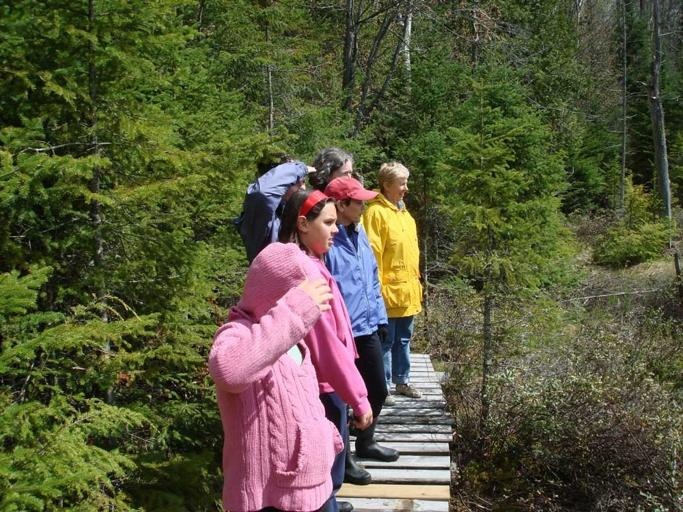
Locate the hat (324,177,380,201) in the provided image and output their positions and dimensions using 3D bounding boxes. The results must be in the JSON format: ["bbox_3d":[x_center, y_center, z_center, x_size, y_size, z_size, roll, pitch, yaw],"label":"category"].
[{"bbox_3d":[0.090,-0.547,5.279,0.368,0.159,0.243,1,19,-6],"label":"hat"}]

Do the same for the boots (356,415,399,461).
[{"bbox_3d":[0.313,1.595,5.666,0.401,0.416,0.199,2,9,15],"label":"boots"}]

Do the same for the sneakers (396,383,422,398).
[{"bbox_3d":[0.740,1.472,7.108,0.270,0.130,0.124,4,6,25],"label":"sneakers"}]
